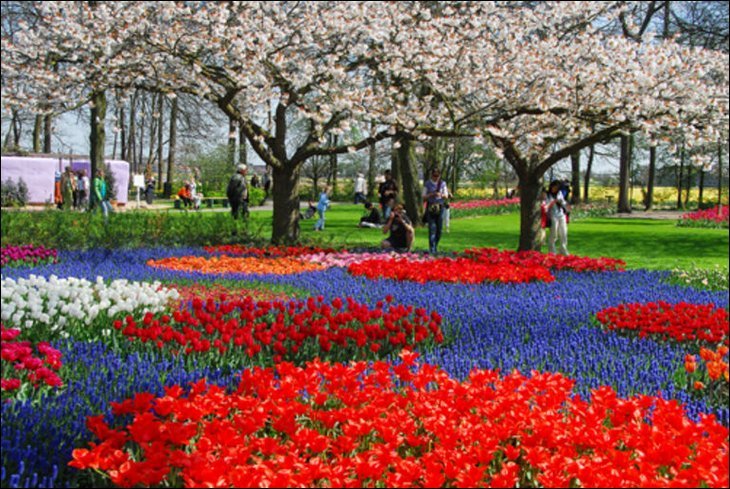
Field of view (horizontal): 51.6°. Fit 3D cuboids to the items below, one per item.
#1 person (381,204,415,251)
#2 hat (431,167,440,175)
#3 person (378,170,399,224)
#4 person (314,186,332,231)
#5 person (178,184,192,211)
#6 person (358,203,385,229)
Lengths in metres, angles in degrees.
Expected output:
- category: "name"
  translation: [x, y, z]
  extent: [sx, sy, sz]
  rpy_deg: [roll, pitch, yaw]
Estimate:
- category: "person"
  translation: [0.674, -0.237, 14.382]
  extent: [0.620, 0.995, 0.651]
  rpy_deg: [-6, -13, 24]
- category: "hat"
  translation: [1.339, -1.366, 14.233]
  extent: [0.152, 0.193, 0.197]
  rpy_deg: [0, 1, -1]
- category: "person"
  translation: [0.519, -1.040, 17.690]
  extent: [0.470, 1.409, 0.424]
  rpy_deg: [1, 5, 22]
- category: "person"
  translation: [-1.134, -0.954, 20.717]
  extent: [0.370, 1.158, 0.497]
  rpy_deg: [9, -3, -17]
- category: "person"
  translation: [-7.442, -2.016, 31.360]
  extent: [0.554, 0.979, 1.553]
  rpy_deg: [0, 7, -13]
- category: "person"
  translation: [0.198, -0.803, 21.311]
  extent: [0.676, 0.892, 0.726]
  rpy_deg: [-1, 2, -12]
